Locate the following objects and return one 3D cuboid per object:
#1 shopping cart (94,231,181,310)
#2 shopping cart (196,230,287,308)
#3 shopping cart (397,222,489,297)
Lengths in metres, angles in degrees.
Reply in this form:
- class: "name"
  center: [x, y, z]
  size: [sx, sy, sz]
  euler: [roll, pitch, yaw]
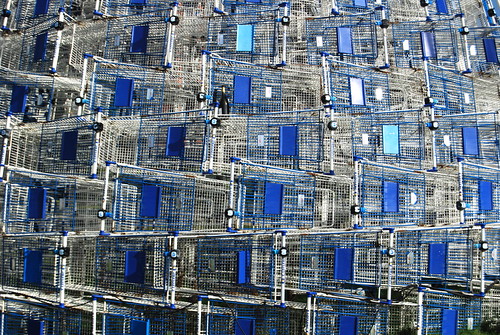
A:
- class: "shopping cart"
  center: [-2.718, 2.420, 24.190]
  size: [3.022, 1.579, 1.992]
  euler: [4, 81, 4]
- class: "shopping cart"
  center: [-0.221, 2.378, 24.016]
  size: [2.343, 2.164, 1.305]
  euler: [1, 89, 3]
- class: "shopping cart"
  center: [4.481, 2.185, 24.316]
  size: [2.861, 1.556, 1.820]
  euler: [7, 83, -9]
